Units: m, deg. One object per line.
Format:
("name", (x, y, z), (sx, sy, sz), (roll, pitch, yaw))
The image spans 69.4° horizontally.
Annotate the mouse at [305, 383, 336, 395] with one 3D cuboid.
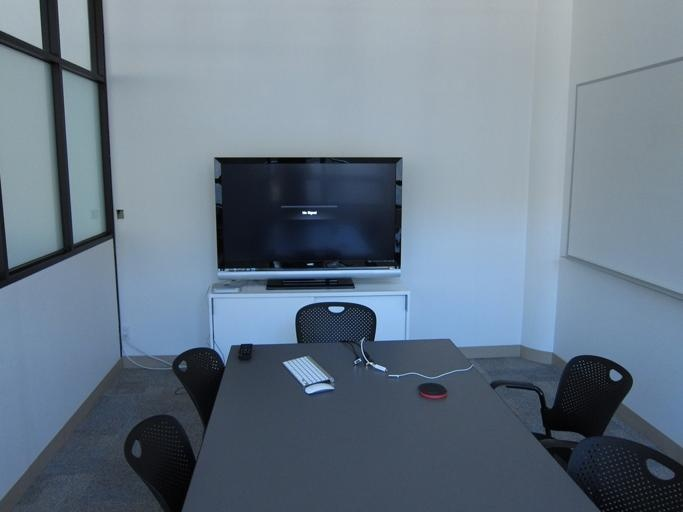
("mouse", (-0.129, 0.781, 2.913), (0.123, 0.031, 0.074), (-4, 15, -19))
